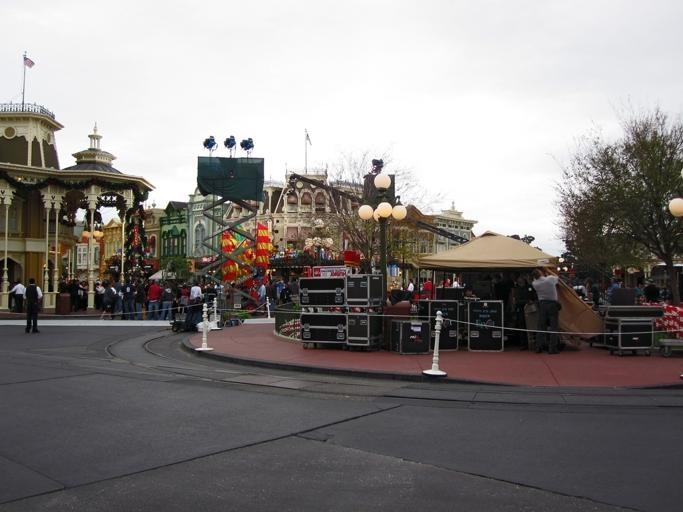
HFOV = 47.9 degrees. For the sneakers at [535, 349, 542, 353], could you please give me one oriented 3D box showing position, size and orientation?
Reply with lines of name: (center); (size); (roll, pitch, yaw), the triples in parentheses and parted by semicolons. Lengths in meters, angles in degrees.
sneakers: (4.775, 2.291, 18.612); (0.093, 0.093, 0.121); (0, -7, -10)
